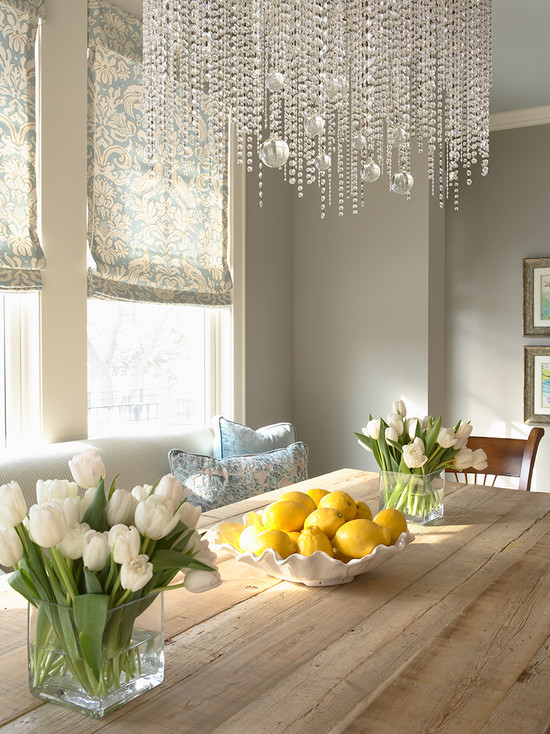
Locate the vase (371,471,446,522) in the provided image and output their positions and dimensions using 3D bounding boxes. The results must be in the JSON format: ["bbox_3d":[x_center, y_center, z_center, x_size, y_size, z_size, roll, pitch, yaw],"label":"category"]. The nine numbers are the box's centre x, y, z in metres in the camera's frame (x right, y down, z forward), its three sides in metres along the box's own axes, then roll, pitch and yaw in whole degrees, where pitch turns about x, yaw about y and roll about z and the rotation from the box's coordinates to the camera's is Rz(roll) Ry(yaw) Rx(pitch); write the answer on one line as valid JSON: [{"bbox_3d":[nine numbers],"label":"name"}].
[{"bbox_3d":[0.346,0.306,1.552,0.146,0.138,0.144,-3,-8,33],"label":"vase"}]
